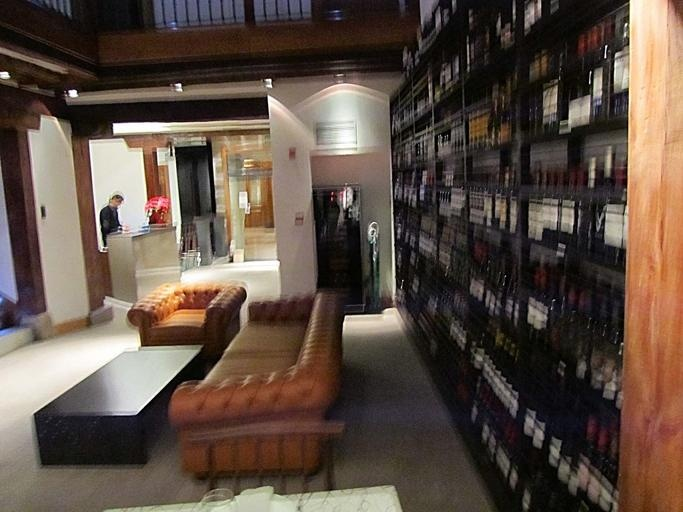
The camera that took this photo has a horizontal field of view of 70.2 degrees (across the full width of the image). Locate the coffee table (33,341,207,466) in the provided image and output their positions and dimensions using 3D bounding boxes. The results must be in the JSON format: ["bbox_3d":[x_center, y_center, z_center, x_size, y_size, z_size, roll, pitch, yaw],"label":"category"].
[{"bbox_3d":[-1.736,1.008,3.673,0.541,0.251,1.062,0,8,-1],"label":"coffee table"}]

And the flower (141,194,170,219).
[{"bbox_3d":[-3.308,-0.888,8.698,0.343,0.366,1.336,-6,11,-22],"label":"flower"}]

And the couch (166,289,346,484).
[{"bbox_3d":[-0.495,0.464,3.207,0.889,0.773,1.803,1,18,4],"label":"couch"}]

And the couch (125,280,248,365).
[{"bbox_3d":[-1.692,0.678,5.563,0.971,0.652,0.967,0,8,6],"label":"couch"}]

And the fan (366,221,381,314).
[{"bbox_3d":[0.438,0.150,6.712,0.187,1.201,0.265,-1,9,4],"label":"fan"}]
